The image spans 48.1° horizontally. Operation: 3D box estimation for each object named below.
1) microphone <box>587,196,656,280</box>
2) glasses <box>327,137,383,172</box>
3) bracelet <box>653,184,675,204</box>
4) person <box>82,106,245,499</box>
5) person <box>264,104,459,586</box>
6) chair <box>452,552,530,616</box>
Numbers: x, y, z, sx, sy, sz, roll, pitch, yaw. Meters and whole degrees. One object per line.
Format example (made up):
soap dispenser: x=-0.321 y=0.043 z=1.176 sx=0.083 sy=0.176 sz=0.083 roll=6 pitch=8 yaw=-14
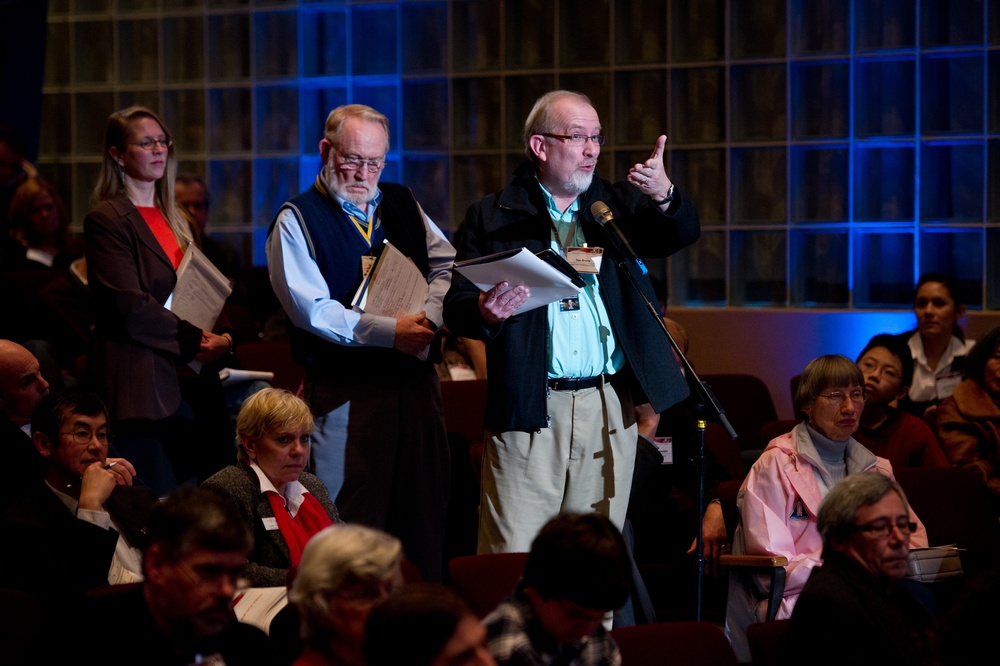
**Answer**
microphone: x=0.474 y=-0.389 z=4.516 sx=0.200 sy=0.301 sz=0.363 roll=1 pitch=1 yaw=13
glasses: x=-0.591 y=-0.732 z=4.599 sx=0.226 sy=0.123 sz=0.089 roll=0 pitch=1 yaw=-13
bracelet: x=0.640 y=-0.550 z=4.393 sx=0.071 sy=0.030 sz=0.058 roll=-1 pitch=-10 yaw=-43
person: x=-1.455 y=0.114 z=4.989 sx=0.604 sy=2.102 sz=0.605 roll=5 pitch=15 yaw=26
person: x=-0.491 y=0.225 z=4.776 sx=0.785 sy=2.332 sz=0.774 roll=-8 pitch=16 yaw=-20
chair: x=-0.022 y=0.879 z=4.132 sx=0.216 sy=0.308 sz=0.243 roll=1 pitch=11 yaw=7
